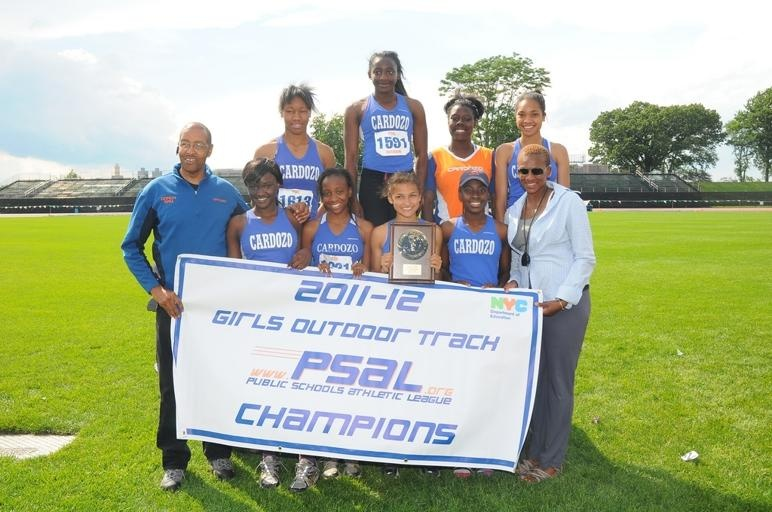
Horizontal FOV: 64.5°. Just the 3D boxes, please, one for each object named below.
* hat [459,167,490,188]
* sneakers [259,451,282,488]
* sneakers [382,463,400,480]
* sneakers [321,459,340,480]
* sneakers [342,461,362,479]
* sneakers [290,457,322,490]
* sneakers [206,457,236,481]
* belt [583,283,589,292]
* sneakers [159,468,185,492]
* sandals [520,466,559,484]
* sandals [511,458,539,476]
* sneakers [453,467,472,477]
[{"bbox_3d":[1.043,-0.986,7.509,0.356,0.251,0.570,2,-6,-1],"label":"hat"},{"bbox_3d":[-1.325,2.423,6.970,0.233,0.270,0.336,-2,8,-8],"label":"sneakers"},{"bbox_3d":[0.063,2.478,7.053,0.135,0.226,0.231,2,-13,10],"label":"sneakers"},{"bbox_3d":[-0.637,2.429,7.032,0.191,0.155,0.202,-2,8,-6],"label":"sneakers"},{"bbox_3d":[-0.395,2.453,7.046,0.209,0.199,0.209,-2,-2,12],"label":"sneakers"},{"bbox_3d":[-0.920,2.466,6.925,0.241,0.294,0.677,-2,0,5],"label":"sneakers"},{"bbox_3d":[-1.892,2.420,7.020,0.141,0.164,0.382,16,0,-40],"label":"sneakers"},{"bbox_3d":[2.283,0.353,7.033,0.084,0.085,0.098,-2,-23,3],"label":"belt"},{"bbox_3d":[-2.384,2.488,6.843,0.264,0.185,0.180,-4,9,-22],"label":"sneakers"},{"bbox_3d":[1.724,2.469,6.969,0.372,0.092,0.167,-2,7,-12],"label":"sandals"},{"bbox_3d":[1.590,2.428,7.071,0.154,0.087,0.209,11,30,39],"label":"sandals"},{"bbox_3d":[0.882,2.481,7.057,0.208,0.085,0.082,0,8,4],"label":"sneakers"}]
